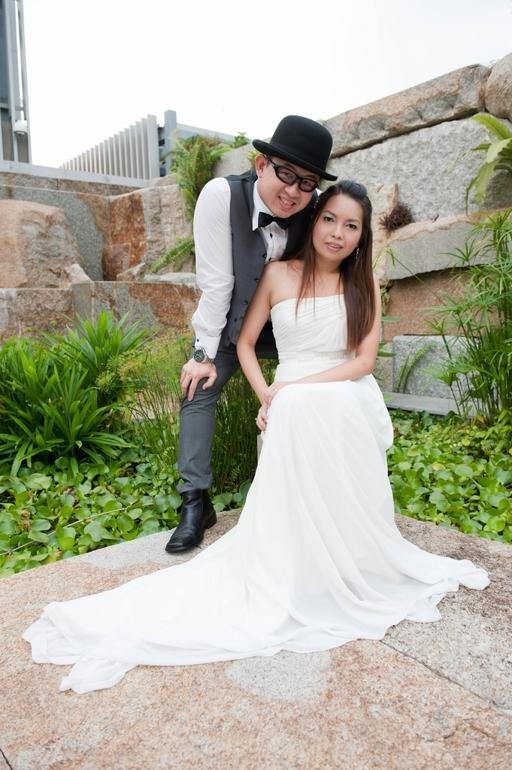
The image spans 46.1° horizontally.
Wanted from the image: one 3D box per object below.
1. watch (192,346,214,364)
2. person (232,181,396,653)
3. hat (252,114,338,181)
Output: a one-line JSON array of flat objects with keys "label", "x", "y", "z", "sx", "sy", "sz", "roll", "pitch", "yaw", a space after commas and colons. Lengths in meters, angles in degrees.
[{"label": "watch", "x": -0.175, "y": -0.105, "z": 1.989, "sx": 0.053, "sy": 0.035, "sz": 0.048, "roll": 1, "pitch": -15, "yaw": 36}, {"label": "person", "x": 0.168, "y": -0.240, "z": 1.782, "sx": 0.447, "sy": 0.708, "sz": 0.402, "roll": -2, "pitch": 10, "yaw": -2}, {"label": "hat", "x": 0.112, "y": -0.689, "z": 1.728, "sx": 0.272, "sy": 0.194, "sz": 0.224, "roll": -4, "pitch": 10, "yaw": -15}]
